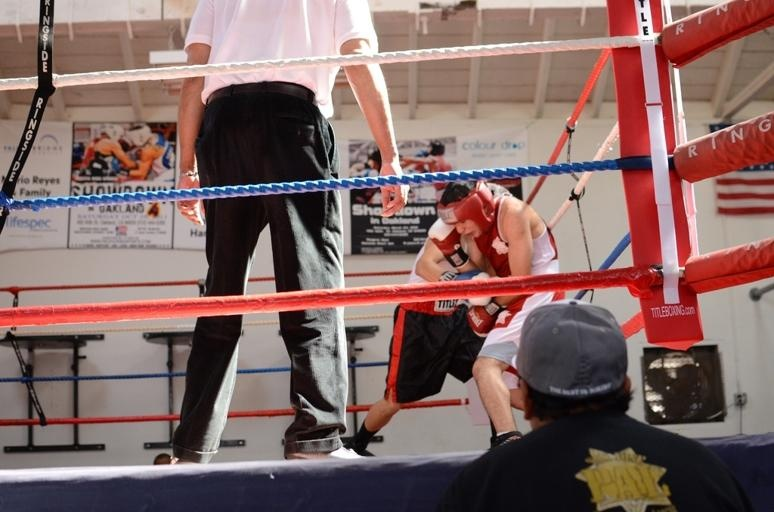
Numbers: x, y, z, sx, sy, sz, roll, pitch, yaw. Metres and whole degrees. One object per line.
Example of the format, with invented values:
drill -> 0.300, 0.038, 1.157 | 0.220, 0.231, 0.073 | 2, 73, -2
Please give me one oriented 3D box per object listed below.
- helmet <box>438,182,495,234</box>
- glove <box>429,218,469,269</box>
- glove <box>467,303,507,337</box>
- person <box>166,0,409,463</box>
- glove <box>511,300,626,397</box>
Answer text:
helmet -> 0.479, -0.270, 5.580 | 0.325, 0.229, 0.252 | -29, 6, -6
glove -> 0.381, -0.075, 5.761 | 0.222, 0.316, 0.107 | -21, 16, 32
glove -> 0.599, 0.371, 5.526 | 0.117, 0.130, 0.225 | 2, -3, -13
person -> -0.506, -0.160, 4.701 | 1.127, 2.314, 0.646 | 0, 1, -5
glove -> 0.803, 0.403, 4.067 | 0.386, 0.243, 0.461 | 1, 0, 12
